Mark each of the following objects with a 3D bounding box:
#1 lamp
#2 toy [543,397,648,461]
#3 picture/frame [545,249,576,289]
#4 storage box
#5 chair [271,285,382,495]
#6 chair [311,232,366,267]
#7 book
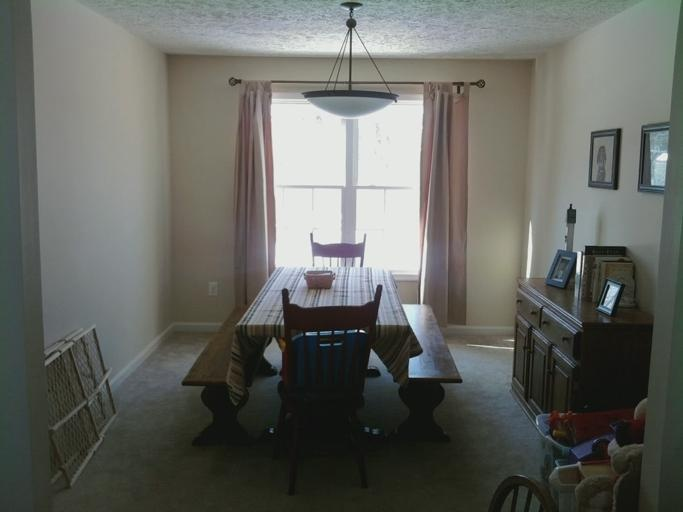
[{"bbox_3d":[0.077,-1.593,4.143,0.830,1.000,0.857,-1,4,-12],"label":"lamp"},{"bbox_3d":[1.208,0.782,2.511,0.492,0.229,0.349,-7,1,0],"label":"toy"},{"bbox_3d":[1.578,0.099,3.680,0.152,0.252,0.181,26,7,-18],"label":"picture/frame"},{"bbox_3d":[1.191,0.912,2.597,0.542,0.273,0.368,-4,-1,6],"label":"storage box"},{"bbox_3d":[-0.067,0.682,2.852,0.581,1.093,0.422,-1,11,-8],"label":"chair"},{"bbox_3d":[-0.017,-0.051,4.910,0.484,0.359,0.649,1,11,3],"label":"chair"},{"bbox_3d":[1.624,0.129,3.305,0.413,0.449,0.327,2,0,-4],"label":"book"}]
